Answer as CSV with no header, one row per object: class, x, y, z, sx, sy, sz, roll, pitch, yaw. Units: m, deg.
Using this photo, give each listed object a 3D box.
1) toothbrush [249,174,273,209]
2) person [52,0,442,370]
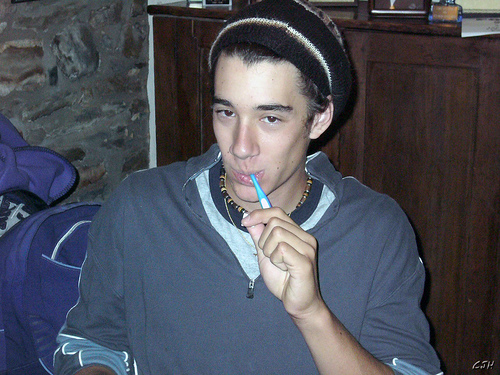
toothbrush,0.026,0.020,1.629,0.029,0.174,0.017,-24,-33,7
person,0.011,0.001,1.696,1.123,1.105,0.413,3,6,7
